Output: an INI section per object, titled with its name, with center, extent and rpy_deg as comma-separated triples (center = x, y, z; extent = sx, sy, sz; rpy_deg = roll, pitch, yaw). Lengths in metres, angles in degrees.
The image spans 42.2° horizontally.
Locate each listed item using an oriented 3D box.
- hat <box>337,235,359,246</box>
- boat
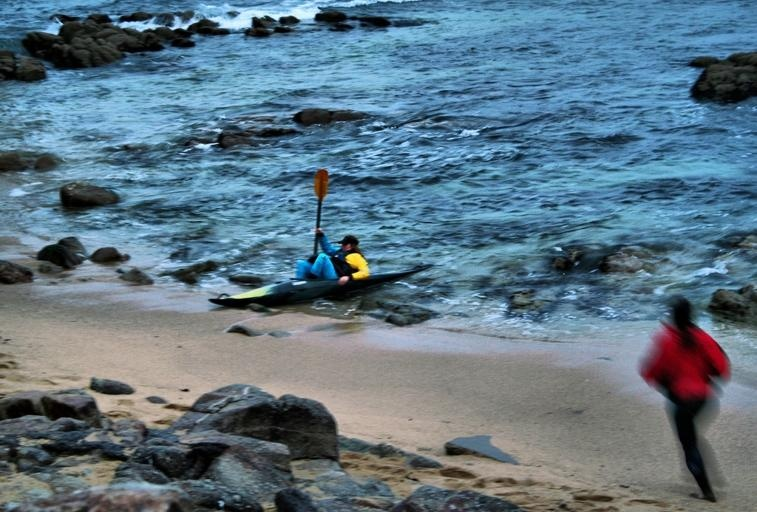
[hat]
center = -0.688, -0.377, 23.452
extent = 0.338, 0.221, 0.207
rpy_deg = -1, 15, 6
[boat]
center = -1.305, 0.725, 23.444
extent = 5.358, 0.284, 0.615
rpy_deg = -6, 17, -11
